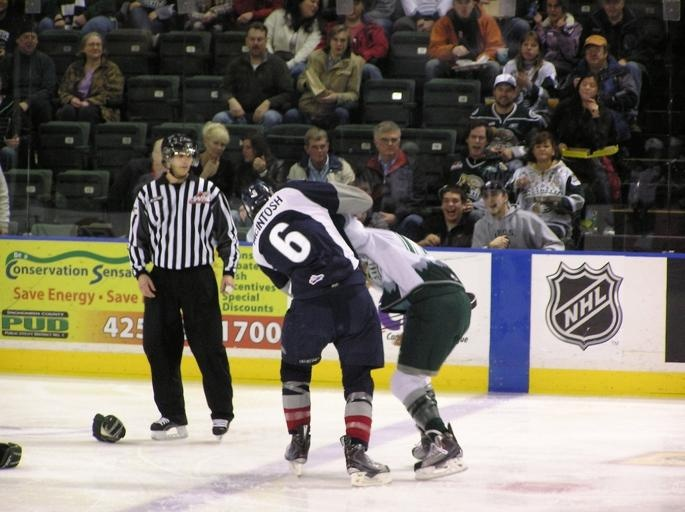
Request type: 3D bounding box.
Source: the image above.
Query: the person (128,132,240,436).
[{"bbox_3d":[-1.167,0.219,7.356,0.786,2.217,0.327,-1,3,-6],"label":"person"}]

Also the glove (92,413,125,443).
[{"bbox_3d":[-1.699,1.243,7.207,0.233,0.149,0.177,23,1,-34],"label":"glove"}]

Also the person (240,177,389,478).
[{"bbox_3d":[-0.152,0.479,6.596,0.919,1.964,0.411,0,3,4],"label":"person"}]

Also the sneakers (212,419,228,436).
[{"bbox_3d":[-0.889,1.253,7.308,0.111,0.128,0.080,-1,2,-5],"label":"sneakers"}]

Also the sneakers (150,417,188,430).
[{"bbox_3d":[-1.283,1.230,7.395,0.271,0.113,0.095,4,-4,-15],"label":"sneakers"}]

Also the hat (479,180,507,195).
[{"bbox_3d":[1.361,-0.614,8.871,0.219,0.139,0.126,0,2,8],"label":"hat"}]

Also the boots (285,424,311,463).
[{"bbox_3d":[-0.278,1.233,6.785,0.134,0.243,0.358,7,3,-7],"label":"boots"}]

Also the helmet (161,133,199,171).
[{"bbox_3d":[-1.197,-0.796,7.403,0.205,0.230,0.256,3,13,9],"label":"helmet"}]

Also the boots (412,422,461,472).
[{"bbox_3d":[0.623,1.257,6.606,0.345,0.303,0.194,0,3,16],"label":"boots"}]

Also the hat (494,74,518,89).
[{"bbox_3d":[1.540,-1.640,9.451,0.200,0.128,0.267,1,-9,5],"label":"hat"}]

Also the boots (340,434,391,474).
[{"bbox_3d":[0.168,1.313,6.529,0.391,0.266,0.136,8,-20,-37],"label":"boots"}]
